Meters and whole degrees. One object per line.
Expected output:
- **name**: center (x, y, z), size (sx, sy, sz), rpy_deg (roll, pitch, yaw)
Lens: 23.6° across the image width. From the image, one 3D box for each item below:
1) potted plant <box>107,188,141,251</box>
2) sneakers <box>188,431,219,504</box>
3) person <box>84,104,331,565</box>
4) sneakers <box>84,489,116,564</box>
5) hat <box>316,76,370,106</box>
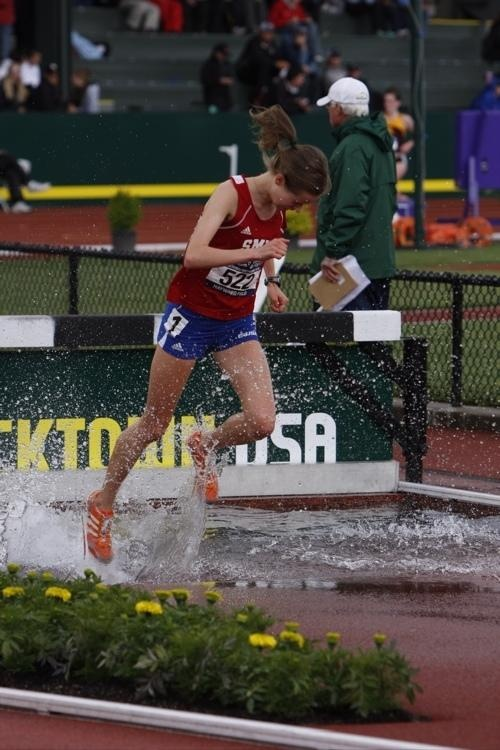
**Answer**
- **potted plant**: center (-1.902, -2.238, 18.199), size (0.512, 1.055, 0.499), rpy_deg (1, -22, -9)
- **sneakers**: center (-0.205, 0.413, 5.236), size (0.132, 0.390, 0.111), rpy_deg (-15, 30, -39)
- **person**: center (-0.185, -0.158, 4.651), size (0.753, 1.785, 0.886), rpy_deg (6, 7, -7)
- **sneakers**: center (-0.580, 0.595, 4.622), size (0.082, 0.252, 0.106), rpy_deg (5, -33, -38)
- **hat**: center (0.506, -1.525, 6.508), size (0.249, 0.146, 0.184), rpy_deg (12, 25, 27)
